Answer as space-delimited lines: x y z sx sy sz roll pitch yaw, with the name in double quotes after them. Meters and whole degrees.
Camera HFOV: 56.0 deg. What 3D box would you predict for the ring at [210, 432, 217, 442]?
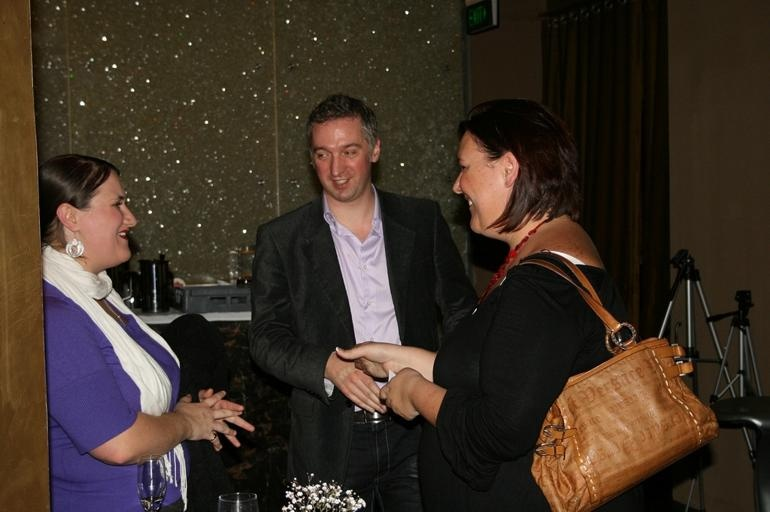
-0.709 0.755 2.997 0.033 0.028 0.014 -3 -5 36 "ring"
